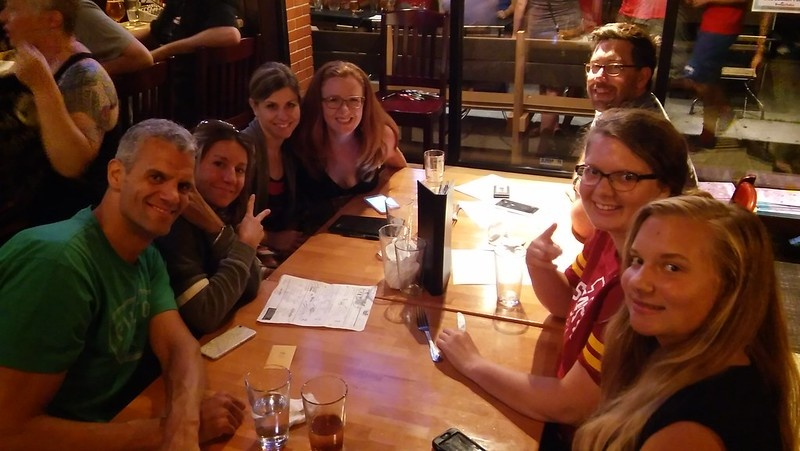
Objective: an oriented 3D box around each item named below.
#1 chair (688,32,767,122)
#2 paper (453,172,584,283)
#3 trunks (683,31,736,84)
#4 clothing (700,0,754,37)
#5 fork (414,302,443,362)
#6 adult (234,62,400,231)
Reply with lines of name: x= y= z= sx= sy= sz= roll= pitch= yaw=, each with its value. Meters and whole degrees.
chair: x=3.045 y=-1.362 z=4.945 sx=0.591 sy=0.800 sz=0.603 roll=12 pitch=49 yaw=27
paper: x=0.692 y=-0.056 z=3.298 sx=0.604 sy=0.201 sz=0.851 roll=3 pitch=30 yaw=8
trunks: x=2.714 y=-1.502 z=4.831 sx=0.343 sy=0.406 sz=0.230 roll=7 pitch=41 yaw=-10
clothing: x=2.769 y=-1.757 z=4.819 sx=0.440 sy=0.305 sz=0.231 roll=8 pitch=41 yaw=-4
fork: x=0.127 y=0.479 z=2.474 sx=0.053 sy=0.043 sz=0.299 roll=-3 pitch=40 yaw=-14
adult: x=-0.534 y=-0.471 z=3.510 sx=1.309 sy=1.062 sz=0.746 roll=-3 pitch=9 yaw=-15
